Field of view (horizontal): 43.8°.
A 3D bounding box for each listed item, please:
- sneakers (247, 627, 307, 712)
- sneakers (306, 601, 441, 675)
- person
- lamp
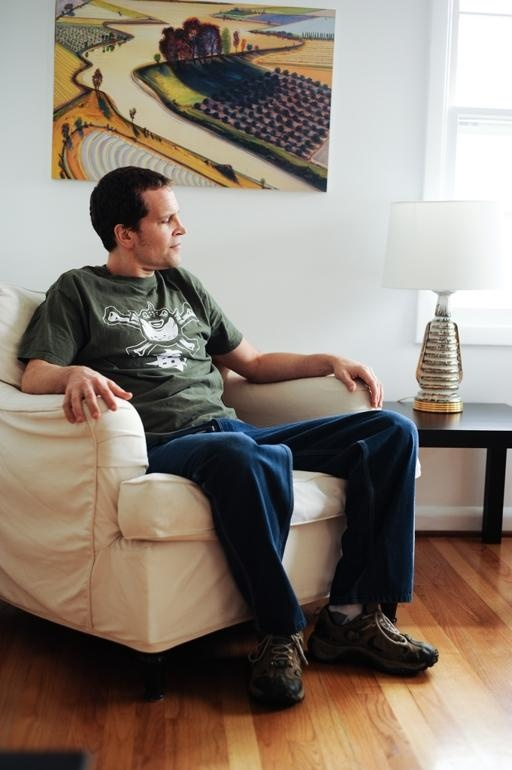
[{"bbox_3d":[0.041,0.571,1.288,0.109,0.129,0.103,1,4,0],"label":"sneakers"},{"bbox_3d":[0.259,0.565,1.495,0.323,0.153,0.115,3,0,16],"label":"sneakers"},{"bbox_3d":[-0.066,0.041,1.573,0.968,1.187,0.871,-2,1,33],"label":"person"},{"bbox_3d":[0.630,-0.243,2.150,0.416,0.652,0.396,-4,8,-26],"label":"lamp"}]
